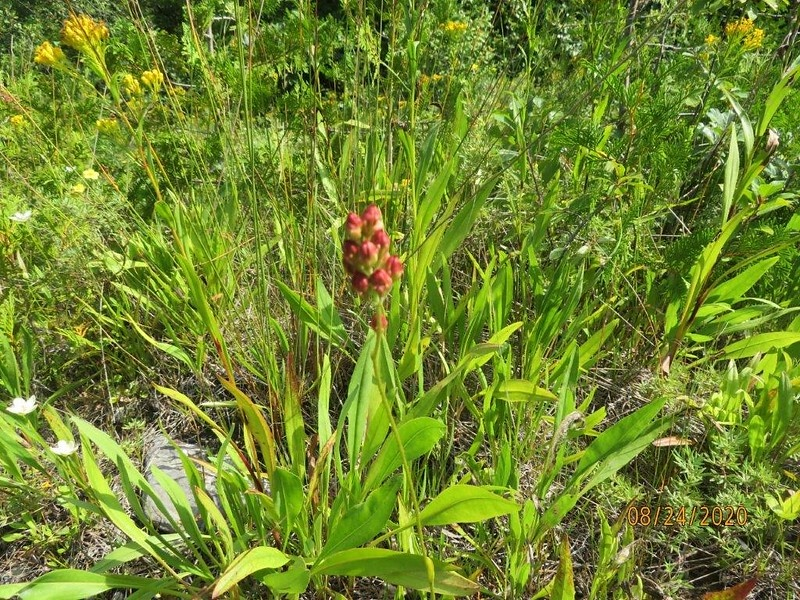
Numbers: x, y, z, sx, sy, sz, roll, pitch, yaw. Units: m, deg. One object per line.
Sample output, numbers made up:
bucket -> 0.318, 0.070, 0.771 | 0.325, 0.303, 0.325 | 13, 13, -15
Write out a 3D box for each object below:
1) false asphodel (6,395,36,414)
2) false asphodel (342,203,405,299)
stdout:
false asphodel -> -1.204, 0.345, 2.092 | 0.068, 0.035, 0.081 | -1, 47, -12
false asphodel -> -0.056, -0.098, 1.469 | 0.103, 0.246, 0.132 | -7, 28, 20
